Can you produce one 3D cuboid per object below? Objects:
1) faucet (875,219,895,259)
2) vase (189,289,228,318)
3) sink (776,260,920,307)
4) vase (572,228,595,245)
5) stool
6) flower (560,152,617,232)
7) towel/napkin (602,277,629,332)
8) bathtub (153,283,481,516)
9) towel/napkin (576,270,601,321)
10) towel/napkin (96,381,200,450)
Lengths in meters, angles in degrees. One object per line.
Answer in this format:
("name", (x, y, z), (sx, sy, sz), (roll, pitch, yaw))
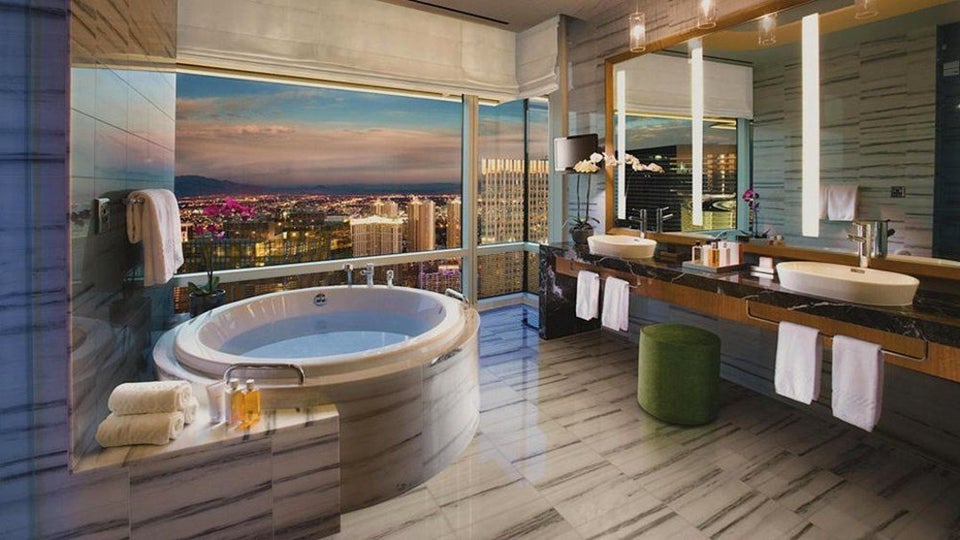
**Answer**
("faucet", (2.838, -0.226, 3.904), (0.118, 0.259, 0.078), (-9, 12, -23))
("vase", (-2.333, 0.281, 4.793), (0.277, 0.160, 0.244), (0, 4, -8))
("sink", (2.453, 0.083, 3.739), (0.771, 0.222, 0.480), (4, 12, 37))
("vase", (1.022, -0.343, 5.506), (0.183, 0.104, 0.167), (0, 2, -20))
("stool", (1.480, 0.795, 4.561), (0.796, 0.721, 0.747), (4, 4, 29))
("flower", (1.121, -0.814, 5.633), (0.401, 0.737, 0.821), (-6, 9, -28))
("towel/napkin", (1.162, 0.271, 4.762), (0.186, 0.417, 0.341), (-8, 11, -19))
("bathtub", (-1.099, 0.935, 3.979), (1.847, 0.682, 1.706), (3, 7, 13))
("towel/napkin", (0.978, 0.213, 5.032), (0.119, 0.428, 0.266), (-12, 13, -33))
("towel/napkin", (-1.963, 0.834, 3.311), (0.448, 0.251, 0.405), (1, 0, -7))
